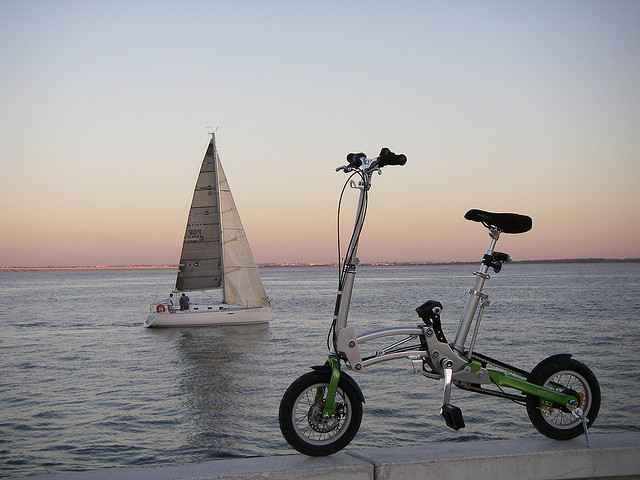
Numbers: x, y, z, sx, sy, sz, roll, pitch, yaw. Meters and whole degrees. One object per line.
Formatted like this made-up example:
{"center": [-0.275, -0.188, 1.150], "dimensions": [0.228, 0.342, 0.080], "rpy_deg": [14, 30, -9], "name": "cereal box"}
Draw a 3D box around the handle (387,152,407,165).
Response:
{"center": [1.063, -1.129, 10.256], "dimensions": [0.249, 0.162, 0.352], "rpy_deg": [2, 10, 4], "name": "handle"}
